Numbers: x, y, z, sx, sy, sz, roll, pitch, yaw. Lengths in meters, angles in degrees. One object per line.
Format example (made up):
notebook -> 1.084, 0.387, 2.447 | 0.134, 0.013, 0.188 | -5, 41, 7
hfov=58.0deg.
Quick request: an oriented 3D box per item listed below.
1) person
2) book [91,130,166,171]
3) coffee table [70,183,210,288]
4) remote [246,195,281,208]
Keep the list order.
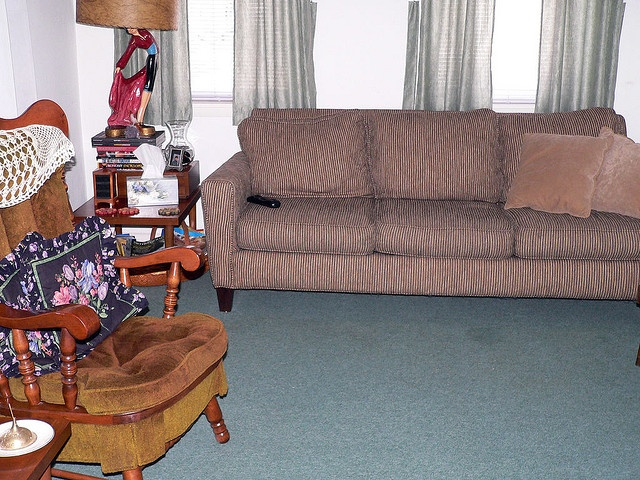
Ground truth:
person -> -1.158, -1.056, 3.579 | 0.237, 0.824, 0.086 | 3, -17, -10
book -> -1.148, -0.522, 3.344 | 0.361, 0.172, 0.251 | -1, 12, -6
coffee table -> -1.028, -0.086, 3.512 | 0.756, 0.540, 0.721 | 1, 22, 3
remote -> -0.316, -0.226, 3.377 | 0.164, 0.039, 0.087 | 16, 11, 28
